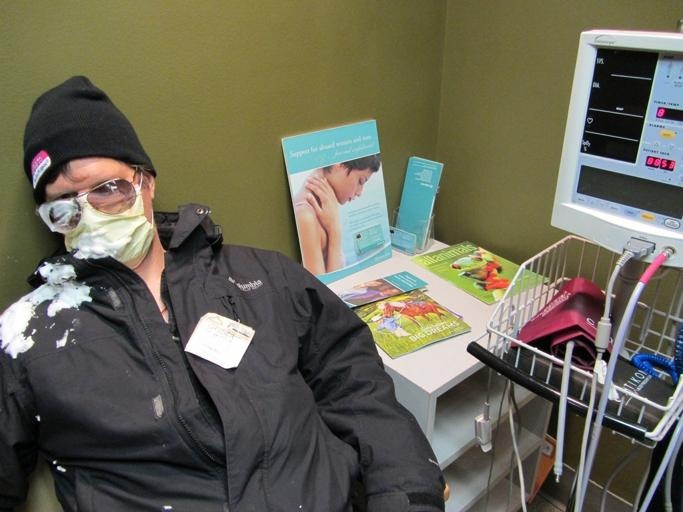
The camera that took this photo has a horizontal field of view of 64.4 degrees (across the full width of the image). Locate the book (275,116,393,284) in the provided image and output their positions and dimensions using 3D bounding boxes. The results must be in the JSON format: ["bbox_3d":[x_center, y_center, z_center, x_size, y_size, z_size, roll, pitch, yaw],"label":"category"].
[{"bbox_3d":[-0.042,-0.196,1.884,0.407,0.565,0.024,-30,30,-33],"label":"book"}]

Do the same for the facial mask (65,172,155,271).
[{"bbox_3d":[-0.600,-0.094,1.420,0.176,0.148,0.229,-12,22,-11],"label":"facial mask"}]

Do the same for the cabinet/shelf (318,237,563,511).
[{"bbox_3d":[0.289,0.362,1.597,0.470,0.911,0.448,-27,43,-26],"label":"cabinet/shelf"}]
